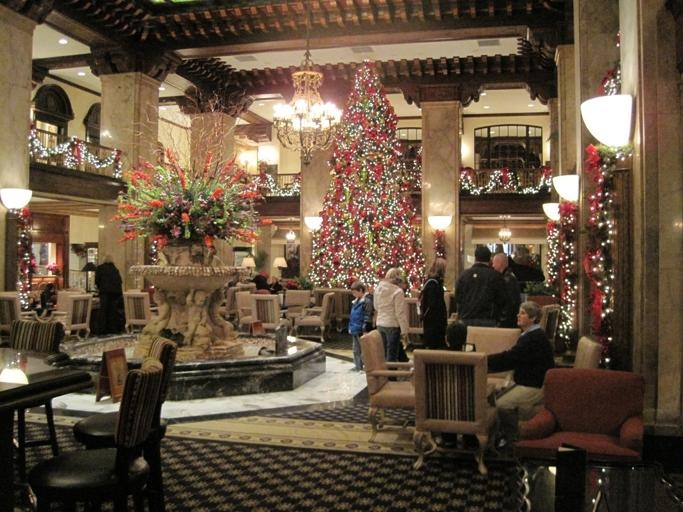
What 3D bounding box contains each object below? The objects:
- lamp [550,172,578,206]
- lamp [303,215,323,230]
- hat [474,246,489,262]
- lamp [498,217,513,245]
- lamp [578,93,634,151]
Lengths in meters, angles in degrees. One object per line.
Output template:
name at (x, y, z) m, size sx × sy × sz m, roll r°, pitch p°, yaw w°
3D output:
lamp at (3.157, -0.951, 8.777) m, size 0.443 × 0.487 × 0.417 m, roll -7°, pitch 6°, yaw -44°
lamp at (-0.809, -0.940, 17.143) m, size 0.552 × 0.409 × 0.550 m, roll -3°, pitch 9°, yaw -14°
hat at (1.734, -0.048, 7.616) m, size 0.162 × 0.210 × 0.209 m, roll -2°, pitch 21°, yaw 8°
lamp at (5.816, -0.860, 21.860) m, size 0.517 × 1.096 × 1.822 m, roll 3°, pitch 7°, yaw 15°
lamp at (2.358, -1.170, 5.505) m, size 0.471 × 0.516 × 0.452 m, roll -1°, pitch 5°, yaw 2°
